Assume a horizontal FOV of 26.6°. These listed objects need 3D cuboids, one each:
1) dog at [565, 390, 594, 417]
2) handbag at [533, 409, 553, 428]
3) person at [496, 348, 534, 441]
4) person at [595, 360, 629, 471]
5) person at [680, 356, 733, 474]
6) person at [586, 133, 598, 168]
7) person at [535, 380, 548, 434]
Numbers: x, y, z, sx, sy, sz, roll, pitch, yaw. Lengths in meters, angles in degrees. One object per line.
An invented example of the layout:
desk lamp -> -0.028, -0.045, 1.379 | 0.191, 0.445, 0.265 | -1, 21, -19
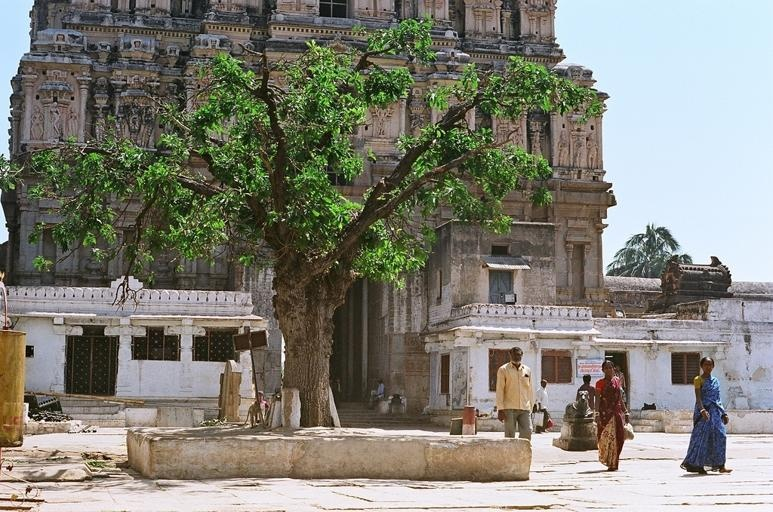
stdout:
dog -> 5.477, 4.279, 46.634 | 0.583, 0.601, 0.876 | 3, -18, -8
handbag -> 5.133, 5.439, 54.336 | 0.743, 0.954, 0.558 | -1, -13, 3
person -> 3.374, 3.622, 43.264 | 0.906, 2.419, 1.024 | 0, -5, 3
person -> 5.874, 4.182, 43.065 | 0.727, 2.823, 0.693 | -1, -5, 7
person -> 8.303, 4.105, 42.468 | 1.108, 2.978, 0.740 | -1, -5, 12
person -> 8.378, -4.331, 66.648 | 0.522, 1.503, 0.290 | 1, -5, -7
person -> 5.148, 5.072, 54.556 | 0.433, 0.709, 1.559 | 3, 30, 8
